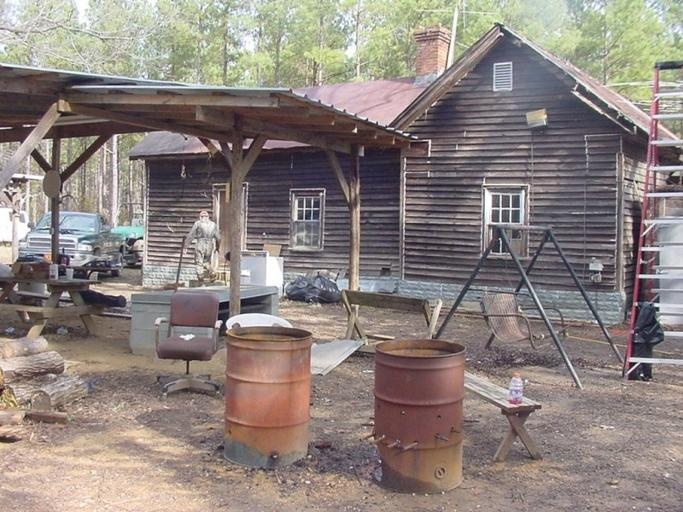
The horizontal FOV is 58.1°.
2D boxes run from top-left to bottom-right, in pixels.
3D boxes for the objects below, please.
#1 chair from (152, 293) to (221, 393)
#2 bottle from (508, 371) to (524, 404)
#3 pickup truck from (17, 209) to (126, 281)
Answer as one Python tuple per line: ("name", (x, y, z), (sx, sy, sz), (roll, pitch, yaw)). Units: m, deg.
("chair", (-2.203, 1.148, 8.794), (0.861, 1.319, 1.461), (-1, 10, -16))
("bottle", (1.908, 1.403, 6.694), (0.159, 0.414, 0.462), (5, 10, 16))
("pickup truck", (-8.589, -0.324, 20.898), (2.304, 1.793, 4.252), (-3, -1, 15))
